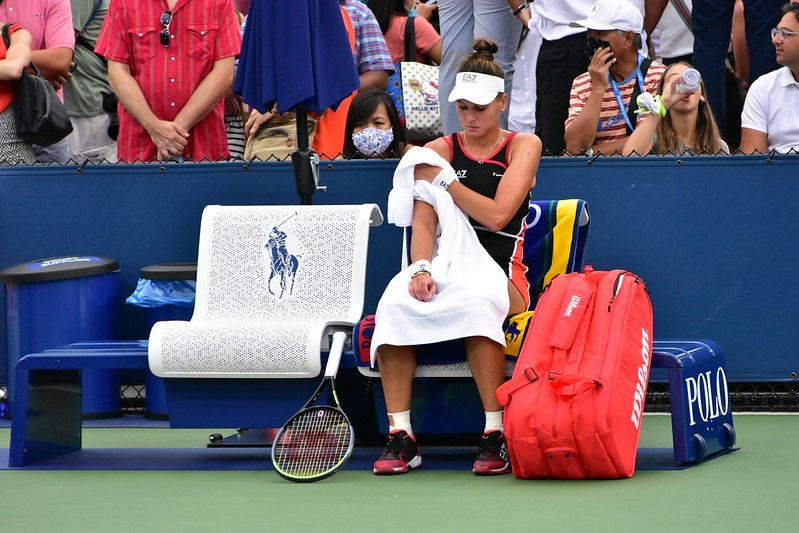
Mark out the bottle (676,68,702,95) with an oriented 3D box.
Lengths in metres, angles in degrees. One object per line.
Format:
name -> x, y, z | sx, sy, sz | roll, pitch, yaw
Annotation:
bottle -> 1.959, -1.251, 7.034 | 0.150, 0.164, 0.162 | 1, 11, -2

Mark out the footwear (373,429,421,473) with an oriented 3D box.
footwear -> -0.019, 1.038, 5.764 | 0.196, 0.229, 0.469 | -4, -1, 17

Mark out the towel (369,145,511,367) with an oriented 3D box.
towel -> 0.261, 0.044, 6.031 | 0.757, 1.259, 0.509 | -6, -32, 8

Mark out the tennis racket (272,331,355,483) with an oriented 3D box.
tennis racket -> -0.409, 0.741, 5.824 | 0.458, 0.097, 1.110 | 2, 49, 13

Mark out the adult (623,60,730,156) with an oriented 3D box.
adult -> 1.982, -1.060, 7.179 | 0.844, 0.453, 1.199 | -7, 6, 16

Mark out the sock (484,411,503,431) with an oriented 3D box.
sock -> 0.523, 0.849, 5.724 | 0.107, 0.110, 0.107 | 0, 3, -33

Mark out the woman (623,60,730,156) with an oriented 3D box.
woman -> 1.959, -1.056, 7.219 | 0.796, 0.465, 1.209 | -3, 11, 14

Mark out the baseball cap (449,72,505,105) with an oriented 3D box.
baseball cap -> 0.427, -1.080, 6.081 | 0.340, 0.148, 0.465 | 8, 25, 9

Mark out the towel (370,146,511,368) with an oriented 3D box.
towel -> 0.232, 0.038, 5.789 | 0.749, 1.261, 0.341 | -14, -32, 17

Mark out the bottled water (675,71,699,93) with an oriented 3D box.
bottled water -> 1.993, -1.260, 7.081 | 0.182, 0.162, 0.135 | -2, 7, -6

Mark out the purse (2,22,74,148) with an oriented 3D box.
purse -> -2.597, -1.164, 7.540 | 0.378, 0.557, 0.193 | -4, 7, -20

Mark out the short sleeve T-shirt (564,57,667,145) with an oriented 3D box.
short sleeve T-shirt -> 1.554, -1.149, 7.323 | 0.621, 0.574, 0.374 | 3, -13, 34

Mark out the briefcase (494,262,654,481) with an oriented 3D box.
briefcase -> 1.011, 0.464, 5.732 | 0.713, 0.438, 1.232 | -3, 47, 33

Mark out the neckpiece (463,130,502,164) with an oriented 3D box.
neckpiece -> 0.498, -0.689, 6.164 | 0.176, 0.228, 0.069 | 4, -2, 7
